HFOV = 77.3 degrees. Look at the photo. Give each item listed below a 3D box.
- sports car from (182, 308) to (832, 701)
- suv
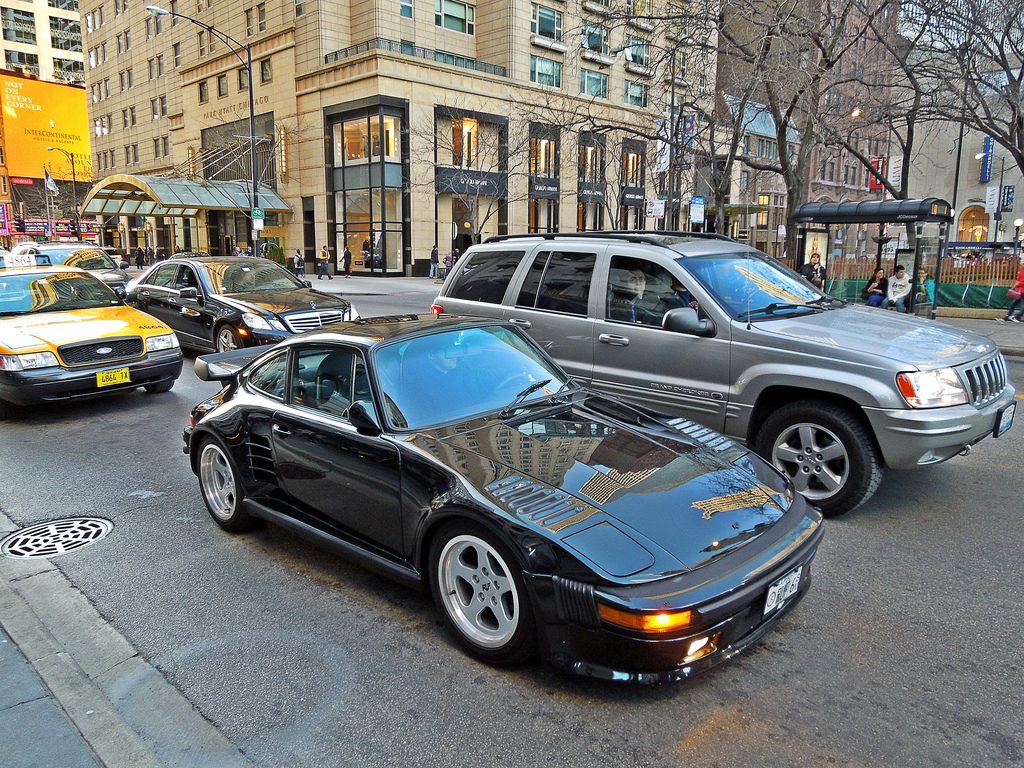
[{"bbox_3d":[-0.442,0.664,4.468,4.206,1.231,1.983,13,21,33],"label":"sports car"},{"bbox_3d":[1.702,-0.415,7.356,6.271,2.264,2.838,7,13,34],"label":"suv"}]
